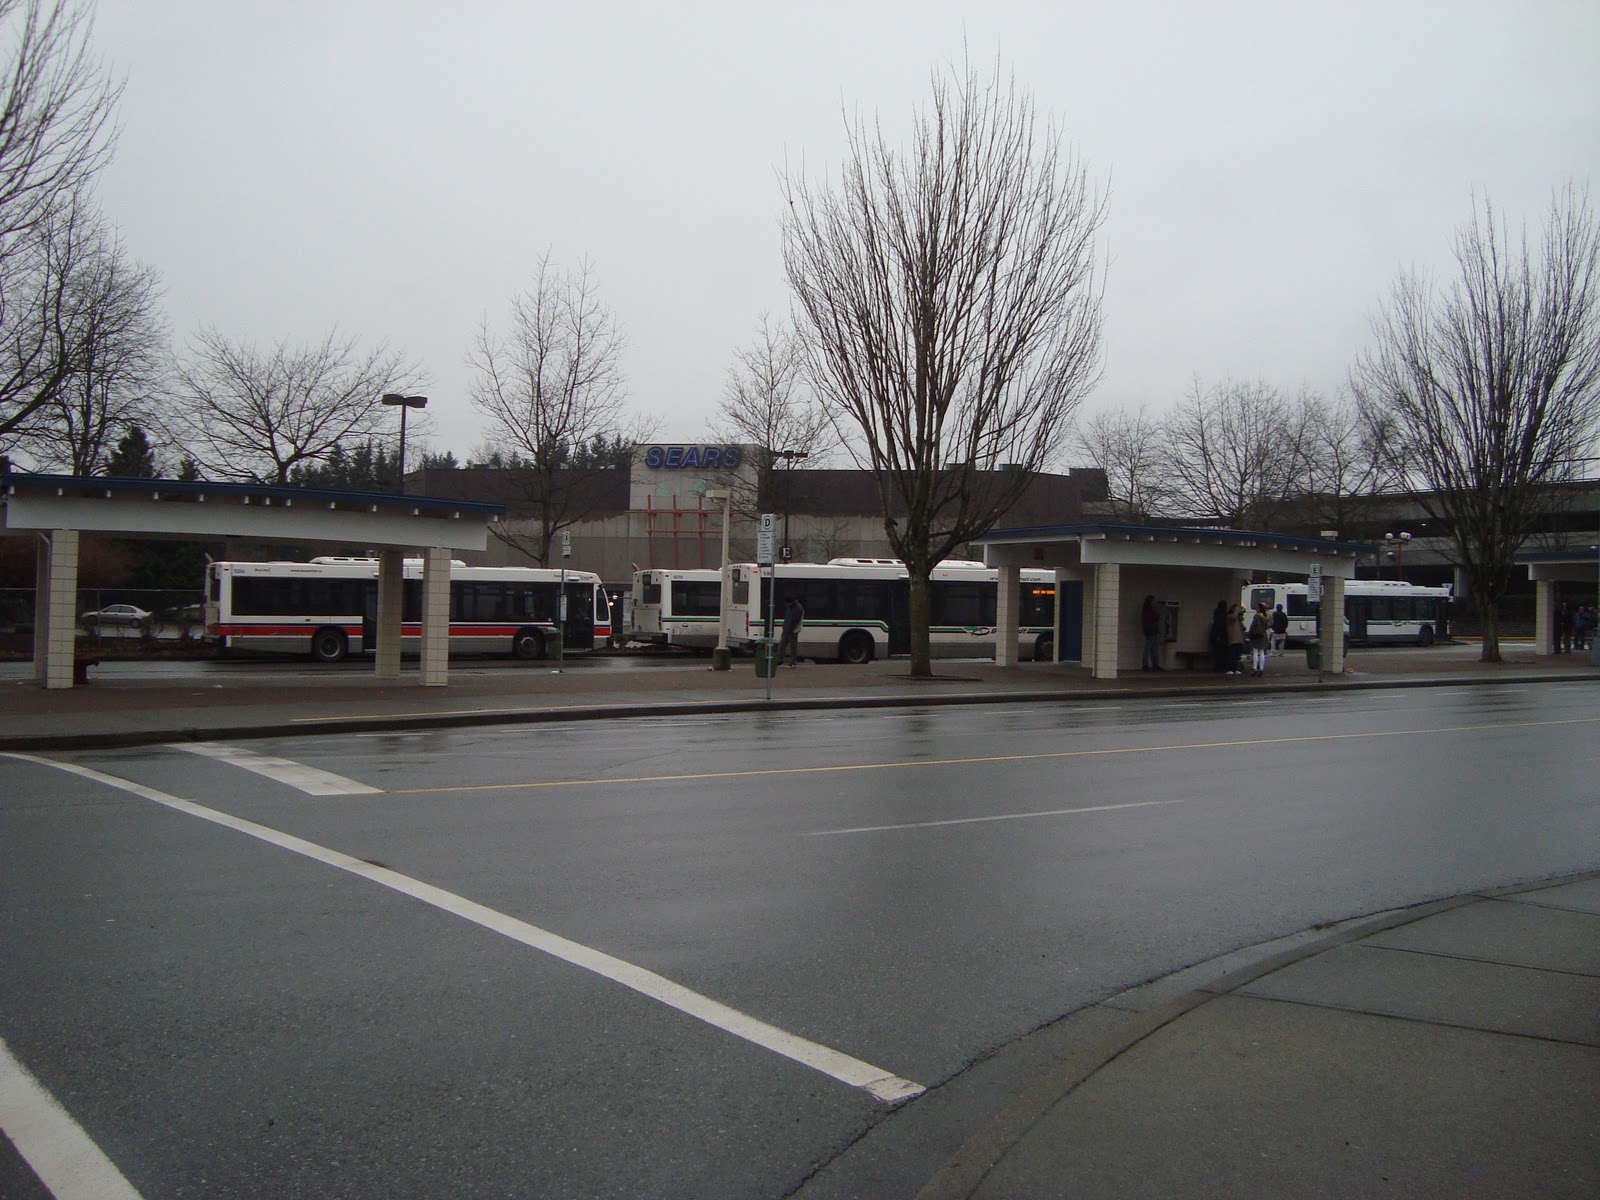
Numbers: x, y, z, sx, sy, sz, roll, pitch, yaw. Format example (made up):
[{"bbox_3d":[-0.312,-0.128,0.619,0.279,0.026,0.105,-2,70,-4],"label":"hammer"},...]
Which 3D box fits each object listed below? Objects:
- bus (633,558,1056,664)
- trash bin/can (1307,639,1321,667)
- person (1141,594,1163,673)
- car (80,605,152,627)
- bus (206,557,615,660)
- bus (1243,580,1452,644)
[{"bbox_3d":[1.127,0.311,41.013,12.699,2.988,3.702,1,1,7],"label":"bus"},{"bbox_3d":[13.608,1.481,36.334,0.296,0.769,0.921,1,1,16],"label":"trash bin/can"},{"bbox_3d":[9.266,0.860,36.233,0.501,2.038,1.126,1,1,14],"label":"person"},{"bbox_3d":[-20.495,0.445,40.790,1.801,0.679,0.862,-4,2,-12],"label":"car"},{"bbox_3d":[-11.573,0.412,40.801,11.019,3.432,2.839,1,-1,-30],"label":"bus"},{"bbox_3d":[19.938,0.449,50.391,7.047,2.357,2.144,-1,3,-16],"label":"bus"}]
